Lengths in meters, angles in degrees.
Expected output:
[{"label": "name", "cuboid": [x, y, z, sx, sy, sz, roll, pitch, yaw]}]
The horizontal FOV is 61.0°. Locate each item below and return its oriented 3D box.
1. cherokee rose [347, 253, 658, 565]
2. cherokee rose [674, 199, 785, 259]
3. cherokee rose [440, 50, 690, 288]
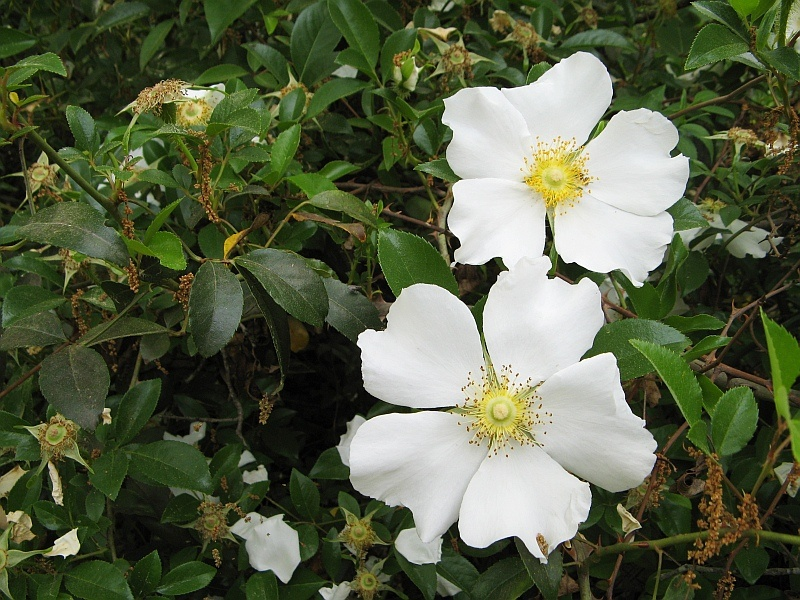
[{"label": "cherokee rose", "cuboid": [0.193, 0.208, 1.368, 0.580, 0.188, 0.586, 30, 56, 31]}, {"label": "cherokee rose", "cuboid": [0.983, -0.203, 2.041, 0.331, 0.367, 0.134, 4, 101, 17]}, {"label": "cherokee rose", "cuboid": [0.352, -0.296, 1.498, 0.523, 0.138, 0.501, 5, 79, 10]}]
